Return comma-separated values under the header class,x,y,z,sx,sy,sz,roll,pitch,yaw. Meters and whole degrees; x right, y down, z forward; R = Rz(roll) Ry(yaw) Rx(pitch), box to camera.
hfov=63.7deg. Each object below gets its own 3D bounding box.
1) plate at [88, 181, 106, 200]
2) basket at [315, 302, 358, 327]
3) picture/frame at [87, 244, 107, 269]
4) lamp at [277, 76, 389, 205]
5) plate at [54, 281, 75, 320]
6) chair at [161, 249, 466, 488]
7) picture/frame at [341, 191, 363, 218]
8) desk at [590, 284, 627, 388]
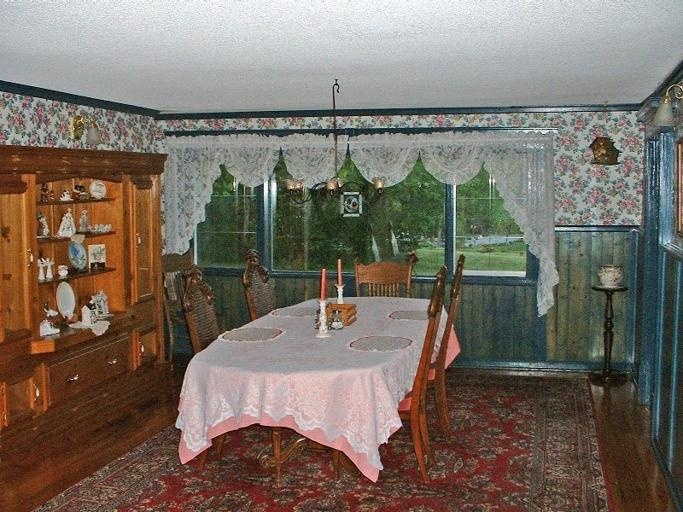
class,x,y,z,sx,sy,sz,roll,pitch,yaw
plate,-2.427,-0.654,5.455,0.195,0.173,0.048,3,6,-21
basket,-0.009,0.453,4.328,0.207,0.084,0.258,1,5,7
picture/frame,-2.455,-0.001,5.473,0.097,0.264,0.257,-2,2,29
lamp,-0.081,-1.297,6.426,1.322,1.207,1.096,0,8,1
plate,-2.617,0.413,5.187,0.052,0.289,0.306,-5,-22,21
chair,-0.030,0.767,3.979,1.550,1.458,1.860,5,9,35
picture/frame,0.126,-0.634,6.578,0.361,0.346,0.048,1,4,9
desk,2.837,0.791,5.819,0.424,0.952,0.404,1,-4,30
